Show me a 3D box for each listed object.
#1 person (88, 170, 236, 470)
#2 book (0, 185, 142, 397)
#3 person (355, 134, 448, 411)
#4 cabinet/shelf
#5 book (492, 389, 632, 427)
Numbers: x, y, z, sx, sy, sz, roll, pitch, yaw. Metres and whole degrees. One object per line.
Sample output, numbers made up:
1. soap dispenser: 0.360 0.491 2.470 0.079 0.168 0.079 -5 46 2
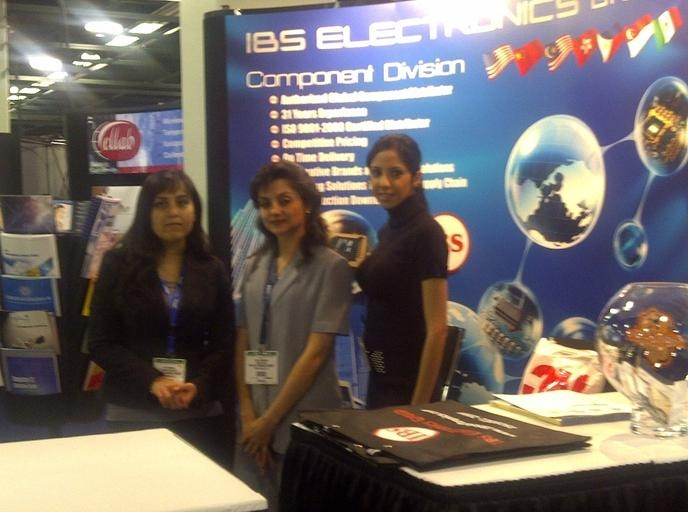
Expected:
1. person: -0.715 0.244 2.228 0.546 1.186 0.384 -2 4 -23
2. book: -1.236 0.154 2.785 0.900 0.874 0.211 -1 -1 15
3. person: 0.253 0.076 2.565 0.377 1.289 0.332 0 3 -6
4. cabinet/shelf: -1.305 0.212 2.739 0.158 0.944 0.093 -2 4 -26
5. book: 0.504 0.355 1.287 0.158 0.017 0.140 -1 -2 -28
